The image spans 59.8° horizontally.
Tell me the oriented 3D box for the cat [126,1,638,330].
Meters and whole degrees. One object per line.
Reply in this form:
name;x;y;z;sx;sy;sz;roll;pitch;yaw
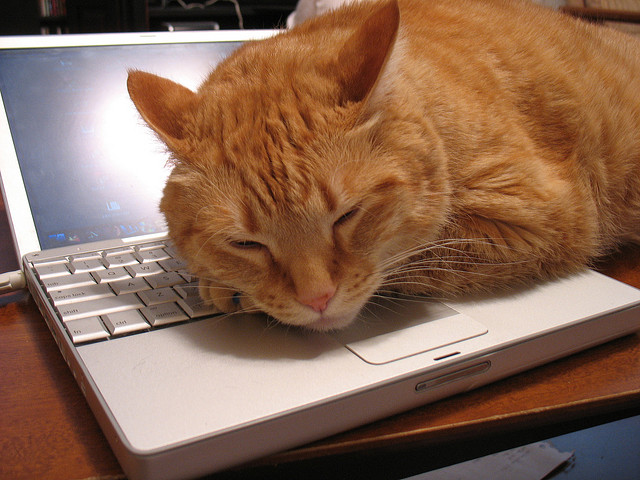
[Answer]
cat;0.219;-0.178;1.039;0.669;0.277;0.846;6;27;39
